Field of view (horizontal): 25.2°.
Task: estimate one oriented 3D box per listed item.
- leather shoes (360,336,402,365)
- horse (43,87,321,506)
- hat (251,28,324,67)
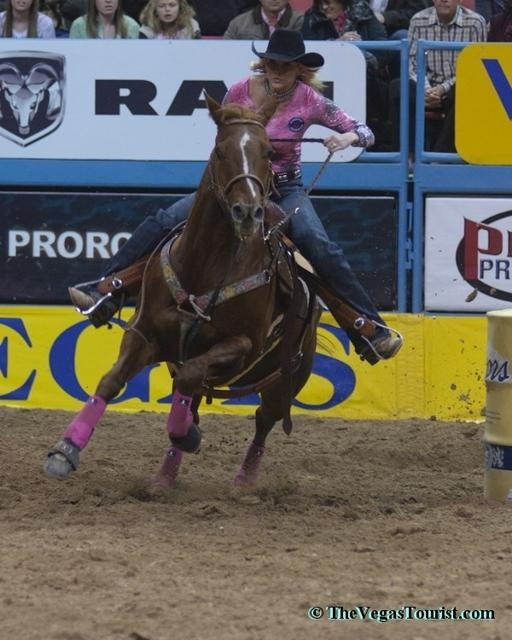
[{"bbox_3d":[0.832,0.185,7.724,0.365,0.173,0.129,-20,29,54],"label":"leather shoes"},{"bbox_3d":[-0.362,-0.065,6.910,1.194,2.448,1.646,5,9,12],"label":"horse"},{"bbox_3d":[0.213,-1.662,7.075,0.401,0.235,0.304,3,8,2],"label":"hat"}]
